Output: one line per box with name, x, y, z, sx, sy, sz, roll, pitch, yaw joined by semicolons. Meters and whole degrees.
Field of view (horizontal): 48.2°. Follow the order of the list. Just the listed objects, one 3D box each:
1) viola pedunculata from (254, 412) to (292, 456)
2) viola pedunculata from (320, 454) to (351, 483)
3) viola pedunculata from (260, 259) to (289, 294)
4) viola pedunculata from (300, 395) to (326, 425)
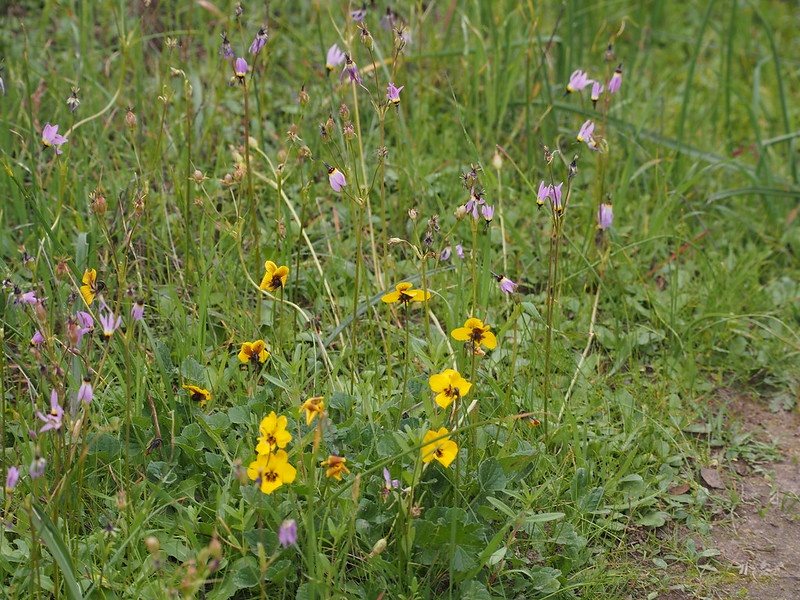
viola pedunculata;-0.402;0.424;2.789;0.141;0.070;0.144;-8;28;-41
viola pedunculata;-0.202;0.520;2.759;0.082;0.045;0.111;5;70;-23
viola pedunculata;-0.454;-0.091;3.237;0.082;0.131;0.042;2;15;10
viola pedunculata;-0.264;0.336;2.715;0.046;0.150;0.097;10;79;-6
